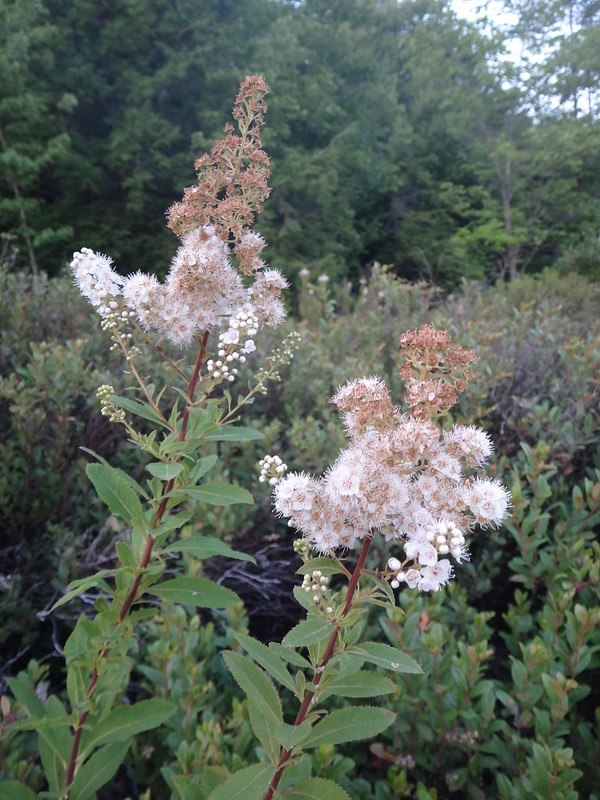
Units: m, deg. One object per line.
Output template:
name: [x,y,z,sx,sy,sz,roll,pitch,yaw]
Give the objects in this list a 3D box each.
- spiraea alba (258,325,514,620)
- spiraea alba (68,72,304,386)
spiraea alba: [0.230,0.224,2.344,0.649,0.804,0.527,-12,24,-7]
spiraea alba: [-0.337,-0.525,2.818,0.542,0.993,0.819,9,29,36]
